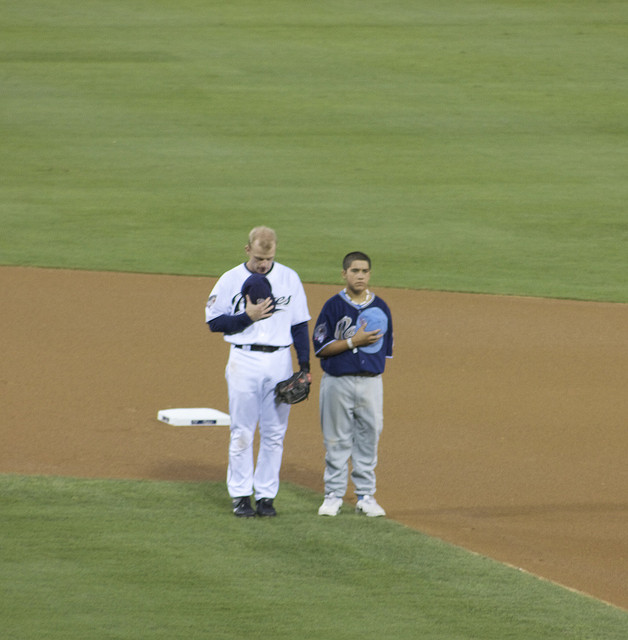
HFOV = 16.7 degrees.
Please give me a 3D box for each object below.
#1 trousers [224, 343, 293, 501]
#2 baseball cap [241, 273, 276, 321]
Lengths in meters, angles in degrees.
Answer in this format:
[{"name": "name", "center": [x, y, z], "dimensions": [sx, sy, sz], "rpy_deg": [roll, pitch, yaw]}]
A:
[{"name": "trousers", "center": [-0.784, 1.232, 25.743], "dimensions": [0.826, 1.895, 0.392], "rpy_deg": [6, 10, -2]}, {"name": "baseball cap", "center": [-0.738, -0.282, 25.787], "dimensions": [0.348, 0.533, 0.285], "rpy_deg": [0, -18, 1]}]
